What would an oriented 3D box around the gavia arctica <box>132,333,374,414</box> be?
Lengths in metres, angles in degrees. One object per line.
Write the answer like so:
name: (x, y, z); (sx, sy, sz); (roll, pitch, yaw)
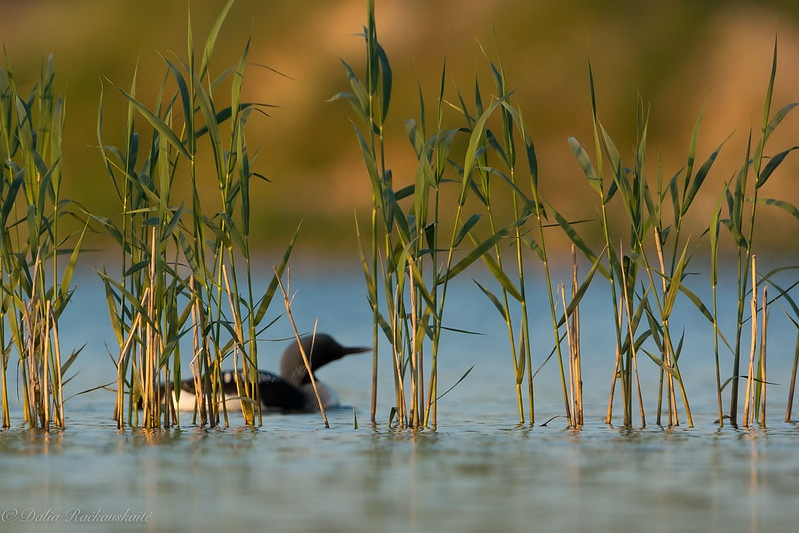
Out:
gavia arctica: (-1.179, 1.038, 13.471); (1.772, 0.946, 1.970); (0, -11, -12)
